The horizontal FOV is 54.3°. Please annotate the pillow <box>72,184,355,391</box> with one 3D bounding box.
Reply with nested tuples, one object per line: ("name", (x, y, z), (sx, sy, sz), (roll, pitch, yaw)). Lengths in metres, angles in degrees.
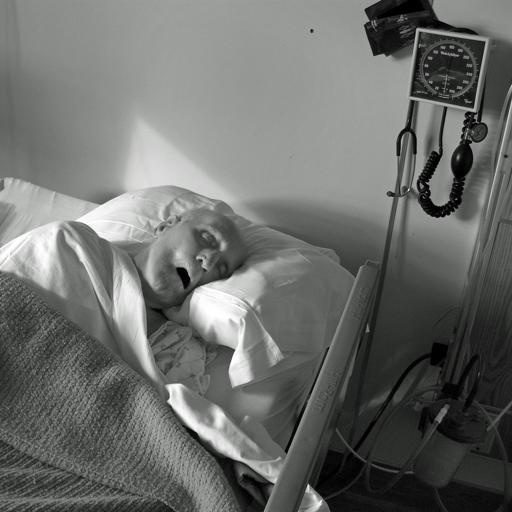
("pillow", (-0.146, 0.121, 1.466), (0.650, 0.186, 0.541), (33, 58, 0))
